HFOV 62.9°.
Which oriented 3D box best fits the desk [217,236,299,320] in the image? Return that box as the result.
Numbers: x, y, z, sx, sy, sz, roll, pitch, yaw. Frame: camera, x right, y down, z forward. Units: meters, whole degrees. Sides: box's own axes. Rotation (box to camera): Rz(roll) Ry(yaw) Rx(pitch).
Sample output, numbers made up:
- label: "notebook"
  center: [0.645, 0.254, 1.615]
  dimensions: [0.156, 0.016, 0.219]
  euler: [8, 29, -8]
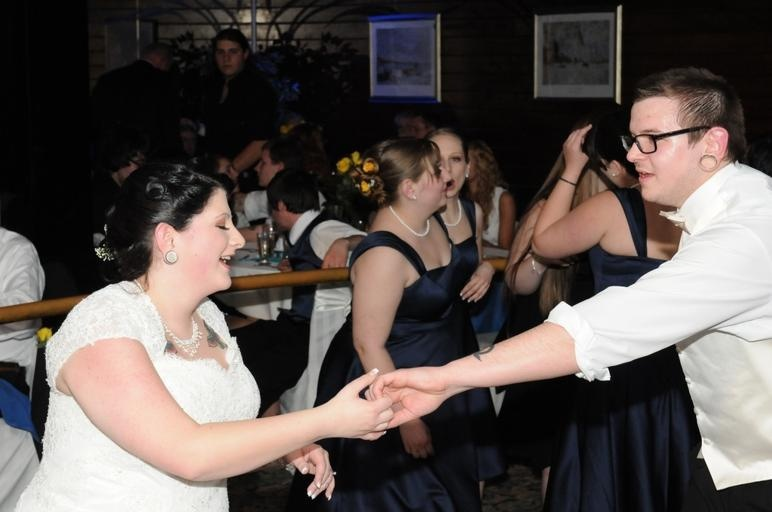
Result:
- label: "desk"
  center: [-0.939, 0.217, 5.151]
  dimensions: [0.736, 0.244, 0.764]
  euler: [25, 37, 35]
